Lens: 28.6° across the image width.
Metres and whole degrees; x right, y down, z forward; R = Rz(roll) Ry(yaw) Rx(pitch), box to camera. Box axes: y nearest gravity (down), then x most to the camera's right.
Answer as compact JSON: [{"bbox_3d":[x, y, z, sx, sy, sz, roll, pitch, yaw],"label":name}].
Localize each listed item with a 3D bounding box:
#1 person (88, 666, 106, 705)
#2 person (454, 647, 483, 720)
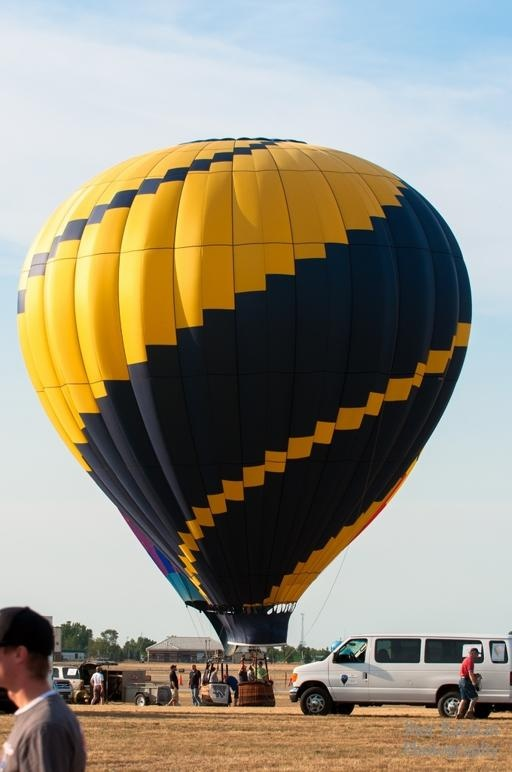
[{"bbox_3d":[-3.866,7.366,24.421,0.330,0.882,1.284,0,-7,-8],"label":"person"},{"bbox_3d":[2.994,4.228,14.155,0.331,1.036,1.001,-2,-7,12],"label":"person"}]
